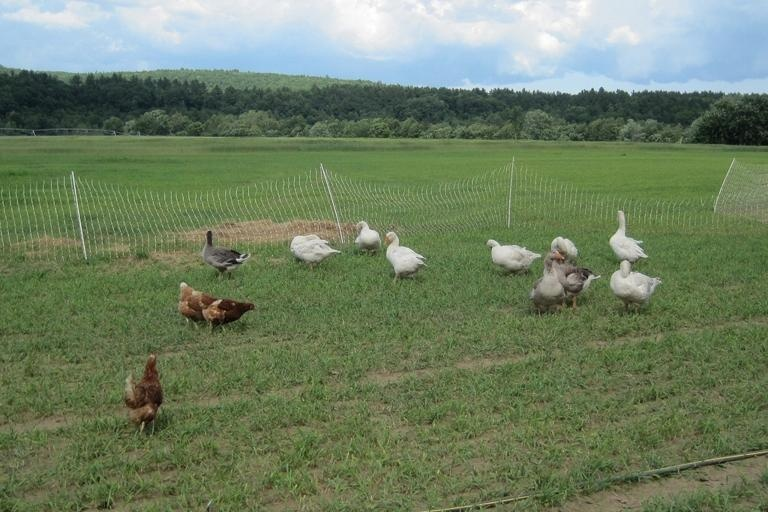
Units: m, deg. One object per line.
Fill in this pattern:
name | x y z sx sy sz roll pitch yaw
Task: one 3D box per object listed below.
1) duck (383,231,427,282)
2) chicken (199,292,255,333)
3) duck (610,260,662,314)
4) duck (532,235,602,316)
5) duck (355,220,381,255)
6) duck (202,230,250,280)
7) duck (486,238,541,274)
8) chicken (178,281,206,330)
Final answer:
duck | 0.588 0.040 21.268 0.932 1.338 1.320 -4 20 -17
chicken | -4.375 1.570 18.095 1.263 0.826 0.876 -4 20 -17
duck | 6.941 0.804 18.337 1.756 1.366 0.960 -1 2 -29
duck | 5.118 0.634 18.939 1.184 1.893 1.946 18 25 38
duck | -0.619 -0.631 23.827 0.682 1.160 0.948 -12 24 -35
duck | -5.153 -0.076 21.826 1.996 1.589 1.019 9 3 9
duck | 4.235 -0.016 21.647 1.707 1.083 0.929 0 -2 2
chicken | -5.547 1.250 18.363 0.561 0.950 1.378 2 30 -44
